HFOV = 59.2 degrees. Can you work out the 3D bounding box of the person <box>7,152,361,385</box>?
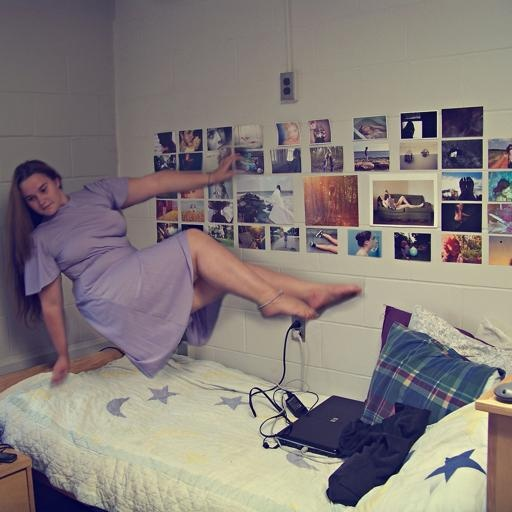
[{"bbox_3d":[-0.274,0.041,2.153,1.413,0.858,0.943,-1,37,13],"label":"person"}]
